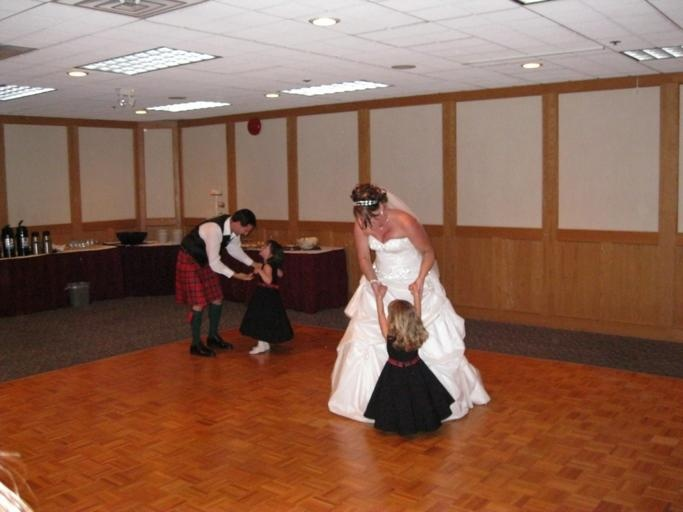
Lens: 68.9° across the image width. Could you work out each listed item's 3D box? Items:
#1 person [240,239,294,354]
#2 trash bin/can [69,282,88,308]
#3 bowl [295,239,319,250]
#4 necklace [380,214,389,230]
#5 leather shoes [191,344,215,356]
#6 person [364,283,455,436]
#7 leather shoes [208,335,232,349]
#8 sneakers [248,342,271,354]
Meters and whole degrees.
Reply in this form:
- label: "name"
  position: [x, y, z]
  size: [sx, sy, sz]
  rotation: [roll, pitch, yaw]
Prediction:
- label: "person"
  position: [-0.838, 0.392, 5.387]
  size: [0.549, 1.111, 0.251]
  rotation: [-5, 8, -13]
- label: "trash bin/can"
  position: [-4.088, 0.613, 7.770]
  size: [0.352, 0.366, 0.299]
  rotation: [0, 4, -1]
- label: "bowl"
  position: [-0.541, -0.202, 7.743]
  size: [0.245, 0.108, 0.180]
  rotation: [3, 22, 13]
- label: "necklace"
  position: [0.340, -0.281, 3.960]
  size: [0.058, 0.110, 0.067]
  rotation: [-8, 9, -32]
- label: "leather shoes"
  position: [-1.523, 1.034, 5.520]
  size: [0.319, 0.128, 0.119]
  rotation: [-2, -1, 24]
- label: "person"
  position: [0.485, 0.806, 3.666]
  size: [0.648, 1.013, 0.382]
  rotation: [-1, 8, 12]
- label: "leather shoes"
  position: [-1.405, 0.990, 5.785]
  size: [0.355, 0.147, 0.123]
  rotation: [0, 1, 18]
- label: "sneakers"
  position: [-0.903, 1.036, 5.608]
  size: [0.253, 0.172, 0.098]
  rotation: [5, -5, -38]
